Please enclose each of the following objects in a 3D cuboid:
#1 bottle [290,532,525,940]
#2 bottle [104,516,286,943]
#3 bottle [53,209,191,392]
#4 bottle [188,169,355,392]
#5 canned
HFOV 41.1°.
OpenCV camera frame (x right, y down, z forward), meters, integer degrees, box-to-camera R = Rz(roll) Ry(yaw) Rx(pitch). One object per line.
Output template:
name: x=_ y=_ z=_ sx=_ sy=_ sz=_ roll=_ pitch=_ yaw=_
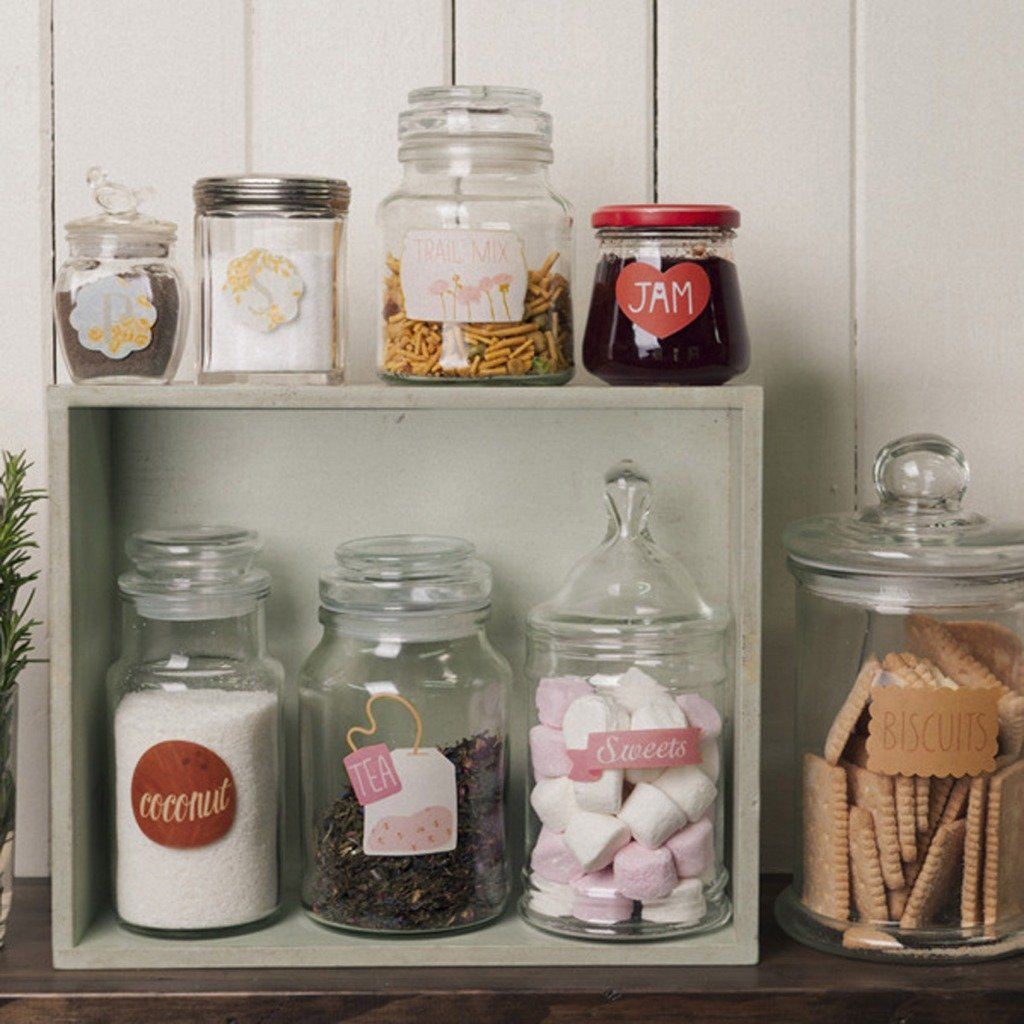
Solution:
bottle: x=-0.081 y=0.178 z=1.103 sx=0.196 sy=0.296 sz=0.169 roll=-6 pitch=10 yaw=-21
bottle: x=-0.255 y=0.171 z=1.085 sx=0.144 sy=0.304 sz=0.151 roll=-2 pitch=10 yaw=0
bottle: x=-0.297 y=-0.160 z=1.040 sx=0.096 sy=0.125 sz=0.054 roll=-5 pitch=10 yaw=-15
bottle: x=-0.178 y=-0.164 z=1.033 sx=0.159 sy=0.187 sz=0.144 roll=0 pitch=-1 yaw=-2
canned: x=0.116 y=-0.164 z=1.083 sx=0.134 sy=0.129 sz=0.133 roll=-1 pitch=0 yaw=-7
